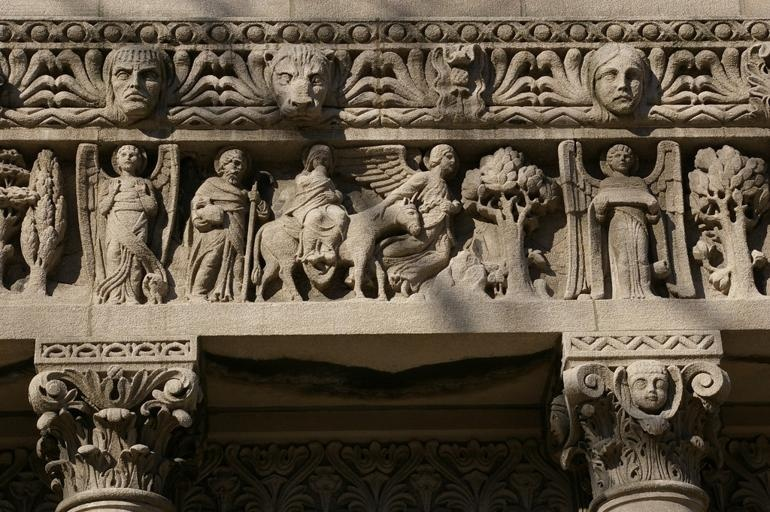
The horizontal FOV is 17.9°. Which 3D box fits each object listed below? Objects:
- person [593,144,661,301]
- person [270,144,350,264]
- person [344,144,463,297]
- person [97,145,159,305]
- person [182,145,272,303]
[{"bbox_3d":[2.186,-0.277,21.863,0.609,1.507,0.269,-3,-27,5],"label":"person"},{"bbox_3d":[-0.614,-0.460,21.818,0.568,1.083,0.181,-1,-26,0],"label":"person"},{"bbox_3d":[0.170,-0.251,21.832,1.328,1.544,0.379,6,-29,-8],"label":"person"},{"bbox_3d":[-2.265,-0.263,21.711,0.590,1.509,0.259,1,-27,-5],"label":"person"},{"bbox_3d":[-1.412,-0.269,21.756,0.735,1.422,0.266,2,-27,-5],"label":"person"}]
